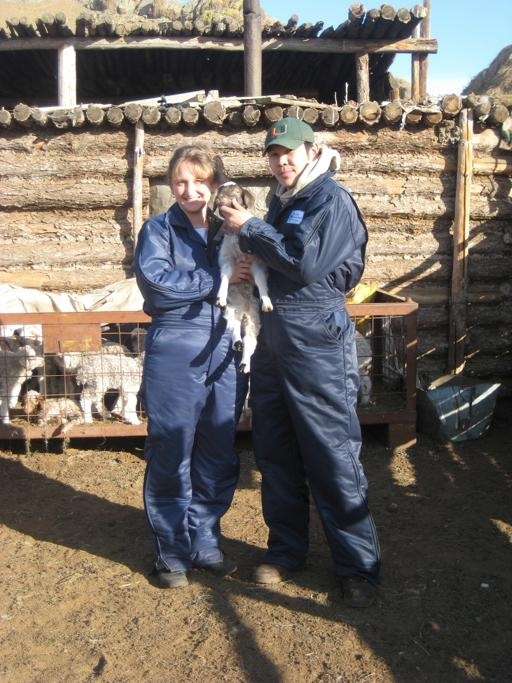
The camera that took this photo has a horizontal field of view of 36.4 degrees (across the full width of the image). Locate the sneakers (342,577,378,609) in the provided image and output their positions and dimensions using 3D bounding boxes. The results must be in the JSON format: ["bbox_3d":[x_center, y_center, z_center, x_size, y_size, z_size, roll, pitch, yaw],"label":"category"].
[{"bbox_3d":[0.535,1.278,3.996,0.182,0.111,0.184,1,14,8],"label":"sneakers"}]

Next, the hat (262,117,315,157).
[{"bbox_3d":[0.169,-1.056,3.984,0.185,0.107,0.248,-4,-2,31],"label":"hat"}]

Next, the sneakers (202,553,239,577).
[{"bbox_3d":[-0.201,1.220,4.218,0.228,0.136,0.078,-20,-46,42],"label":"sneakers"}]

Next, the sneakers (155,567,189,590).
[{"bbox_3d":[-0.448,1.256,4.129,0.078,0.068,0.192,8,-16,-29],"label":"sneakers"}]

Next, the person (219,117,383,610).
[{"bbox_3d":[0.241,0.088,4.007,0.762,2.434,0.902,-3,17,-8],"label":"person"}]
